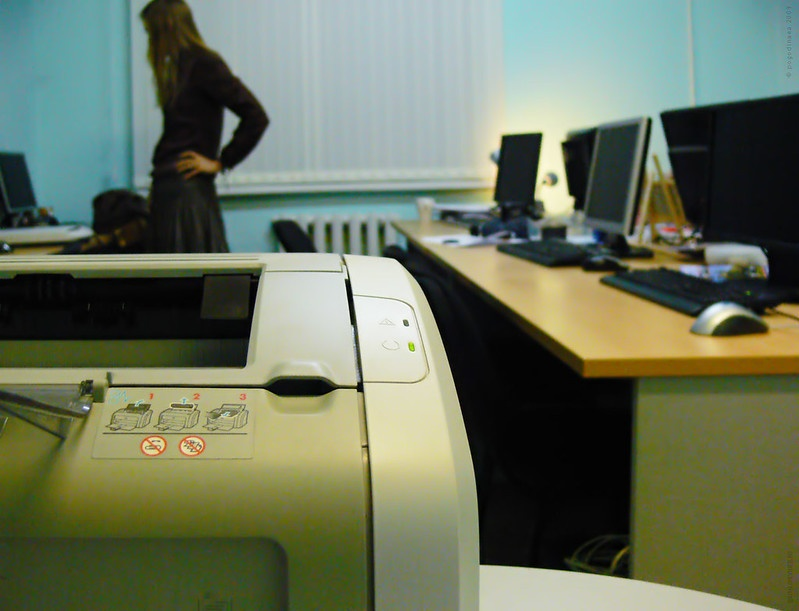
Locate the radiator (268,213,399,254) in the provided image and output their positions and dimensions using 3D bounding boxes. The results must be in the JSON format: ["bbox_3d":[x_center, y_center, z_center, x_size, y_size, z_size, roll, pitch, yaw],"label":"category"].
[{"bbox_3d":[-0.451,-0.435,3.760,0.721,0.307,0.074,-9,36,-28],"label":"radiator"}]

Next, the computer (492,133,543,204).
[{"bbox_3d":[0.516,-0.607,2.949,0.116,0.319,0.327,-5,13,-17],"label":"computer"}]
